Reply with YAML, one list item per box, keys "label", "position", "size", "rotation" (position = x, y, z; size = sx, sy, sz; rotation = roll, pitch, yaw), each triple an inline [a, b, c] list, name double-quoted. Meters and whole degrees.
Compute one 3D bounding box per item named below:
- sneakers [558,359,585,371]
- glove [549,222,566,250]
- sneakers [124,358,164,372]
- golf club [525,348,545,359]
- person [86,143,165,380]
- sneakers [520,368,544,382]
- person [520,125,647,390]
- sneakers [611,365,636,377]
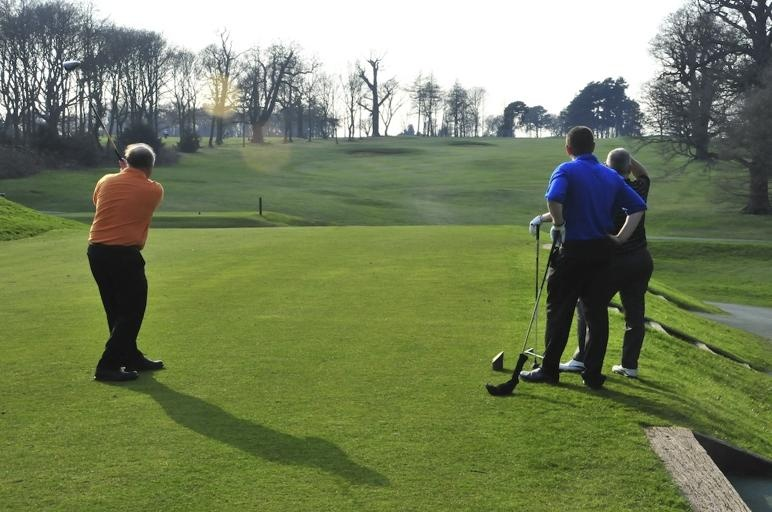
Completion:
- label: "sneakers"
  position: [2.957, 1.736, 11.687]
  size: [0.455, 0.170, 0.160]
  rotation: [2, -4, 1]
- label: "glove"
  position: [2.572, -0.284, 10.847]
  size: [0.128, 0.336, 0.247]
  rotation: [2, 0, -4]
- label: "sneakers"
  position: [-3.737, 1.664, 11.303]
  size: [0.611, 0.242, 0.203]
  rotation: [-1, 3, -11]
- label: "golf club"
  position: [2.417, 1.579, 11.897]
  size: [0.241, 0.059, 0.232]
  rotation: [5, 6, -31]
- label: "person"
  position: [-3.976, 0.072, 11.119]
  size: [1.086, 3.403, 1.257]
  rotation: [-1, 15, -9]
- label: "sneakers"
  position: [2.222, 1.819, 11.233]
  size: [0.361, 0.147, 0.172]
  rotation: [4, -6, -8]
- label: "person"
  position: [2.986, 0.035, 11.016]
  size: [1.216, 3.780, 1.188]
  rotation: [8, 16, 25]
- label: "sneakers"
  position: [3.798, 1.826, 11.656]
  size: [0.356, 0.154, 0.147]
  rotation: [6, 2, 20]
